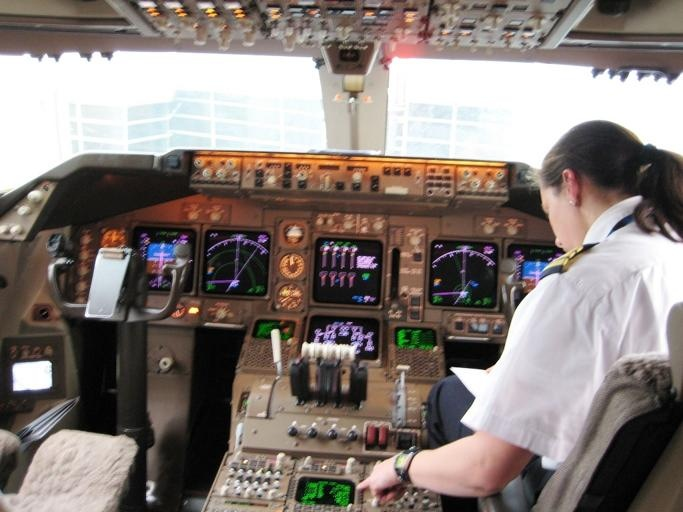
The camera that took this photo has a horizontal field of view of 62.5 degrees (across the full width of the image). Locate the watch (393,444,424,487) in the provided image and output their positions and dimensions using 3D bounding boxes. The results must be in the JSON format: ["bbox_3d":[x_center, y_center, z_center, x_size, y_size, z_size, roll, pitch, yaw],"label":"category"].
[{"bbox_3d":[0.194,0.600,1.654,0.072,0.112,0.117,3,22,16],"label":"watch"}]
